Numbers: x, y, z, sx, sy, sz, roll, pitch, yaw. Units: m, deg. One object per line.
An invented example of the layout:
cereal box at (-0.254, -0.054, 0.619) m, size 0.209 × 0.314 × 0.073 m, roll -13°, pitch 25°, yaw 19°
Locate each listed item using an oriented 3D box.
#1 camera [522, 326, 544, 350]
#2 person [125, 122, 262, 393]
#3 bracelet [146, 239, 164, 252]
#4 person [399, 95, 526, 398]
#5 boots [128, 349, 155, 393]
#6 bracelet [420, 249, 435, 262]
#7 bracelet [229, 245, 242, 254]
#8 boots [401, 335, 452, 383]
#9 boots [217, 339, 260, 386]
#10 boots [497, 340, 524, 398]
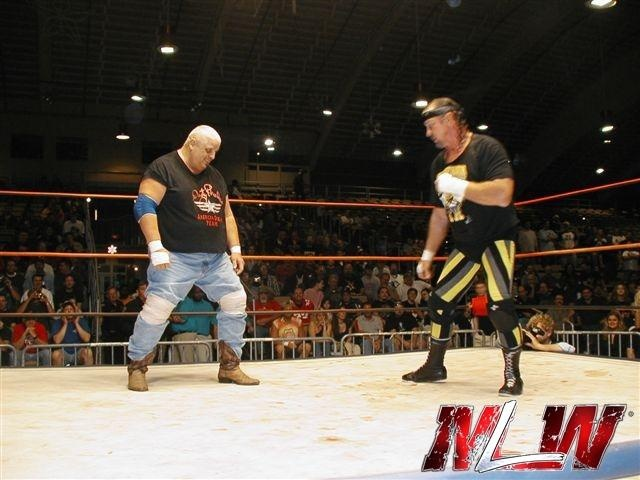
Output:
camera at (1.987, 0.936, 5.987) m, size 0.185 × 0.191 × 0.069 m, roll 8°, pitch -17°, yaw -11°
person at (-0.857, 0.110, 4.253) m, size 0.823 × 1.736 × 0.338 m, roll -1°, pitch -2°, yaw -16°
bracelet at (-1.052, 0.038, 4.099) m, size 0.090 × 0.056 × 0.084 m, roll -10°, pitch 0°, yaw 27°
person at (0.950, 0.000, 4.230) m, size 0.604 × 1.926 × 0.794 m, roll -1°, pitch -2°, yaw -25°
boots at (-1.168, 0.862, 4.190) m, size 0.136 × 0.242 × 0.284 m, roll 13°, pitch 14°, yaw -32°
bracelet at (0.749, 0.117, 4.548) m, size 0.097 × 0.077 × 0.085 m, roll -1°, pitch -5°, yaw 27°
bracelet at (-0.607, 0.072, 4.556) m, size 0.077 × 0.045 × 0.070 m, roll -4°, pitch -3°, yaw 23°
boots at (0.663, 0.829, 4.372) m, size 0.418 × 0.274 × 0.172 m, roll 4°, pitch -11°, yaw -24°
boots at (-0.528, 0.852, 4.360) m, size 0.359 × 0.256 × 0.155 m, roll 2°, pitch -1°, yaw 26°
boots at (1.175, 0.831, 3.979) m, size 0.166 × 0.296 × 0.377 m, roll -1°, pitch 0°, yaw 24°
